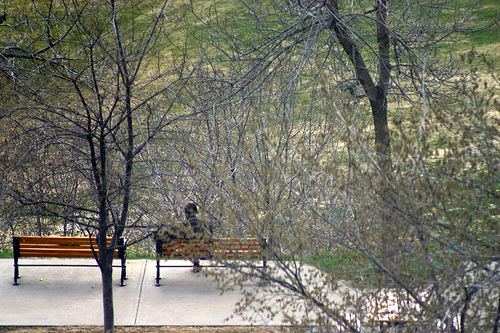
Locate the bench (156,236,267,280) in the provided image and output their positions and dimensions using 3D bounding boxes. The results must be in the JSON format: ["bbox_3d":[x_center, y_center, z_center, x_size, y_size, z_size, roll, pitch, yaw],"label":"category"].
[{"bbox_3d":[-0.841,1.878,26.597,2.349,1.207,1.002,0,13,-2],"label":"bench"}]

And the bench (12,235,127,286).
[{"bbox_3d":[-4.128,2.057,28.092,2.466,1.277,1.061,1,9,-7],"label":"bench"}]

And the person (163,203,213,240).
[{"bbox_3d":[-1.313,1.203,25.837,0.779,0.587,0.841,0,-4,-2],"label":"person"}]
